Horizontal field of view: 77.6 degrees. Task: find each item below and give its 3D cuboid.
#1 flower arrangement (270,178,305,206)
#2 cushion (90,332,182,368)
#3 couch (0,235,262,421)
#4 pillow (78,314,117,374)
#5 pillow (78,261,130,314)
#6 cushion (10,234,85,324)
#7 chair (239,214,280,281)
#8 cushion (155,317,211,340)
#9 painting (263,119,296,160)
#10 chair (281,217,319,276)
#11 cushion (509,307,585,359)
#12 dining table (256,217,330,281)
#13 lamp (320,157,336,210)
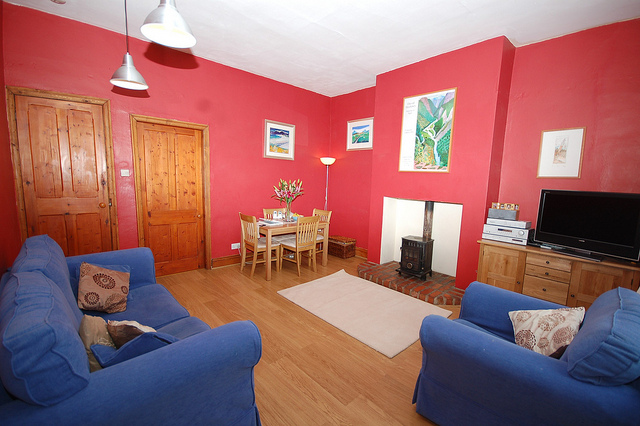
[{"bbox_3d":[-0.582,-0.356,6.932,0.616,0.420,0.642,10,15,39],"label":"flower arrangement"},{"bbox_3d":[-1.503,1.133,3.238,0.645,0.159,0.531,4,5,-37],"label":"cushion"},{"bbox_3d":[-1.633,0.326,3.387,1.646,1.350,2.738,0,7,-37],"label":"couch"},{"bbox_3d":[-1.956,1.135,3.435,0.258,0.335,0.474,3,4,-17],"label":"pillow"},{"bbox_3d":[-2.253,0.802,4.129,0.514,0.511,0.153,14,-30,-36],"label":"pillow"},{"bbox_3d":[-2.302,0.614,4.010,0.575,0.694,1.194,2,6,-27],"label":"cushion"},{"bbox_3d":[-0.970,0.505,6.304,0.601,0.942,0.620,9,12,39],"label":"chair"},{"bbox_3d":[-1.332,1.129,3.882,0.301,0.090,0.283,1,3,-38],"label":"cushion"},{"bbox_3d":[-0.738,-1.257,6.963,0.050,0.642,0.671,9,9,39],"label":"painting"},{"bbox_3d":[-0.358,0.523,6.465,0.554,0.931,0.583,-3,8,-32],"label":"chair"},{"bbox_3d":[2.108,1.003,3.786,0.525,0.440,0.597,7,11,27],"label":"cushion"},{"bbox_3d":[-0.677,0.535,6.719,1.238,0.920,1.142,-5,11,-42],"label":"dining table"},{"bbox_3d":[0.127,-0.564,7.668,0.297,1.035,0.351,1,7,5],"label":"lamp"}]
